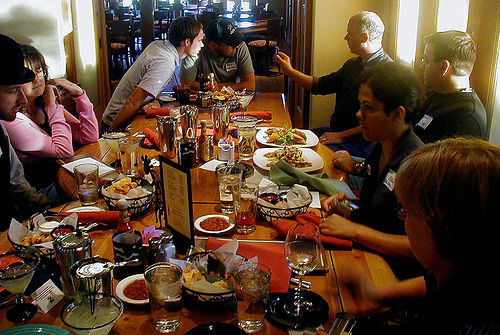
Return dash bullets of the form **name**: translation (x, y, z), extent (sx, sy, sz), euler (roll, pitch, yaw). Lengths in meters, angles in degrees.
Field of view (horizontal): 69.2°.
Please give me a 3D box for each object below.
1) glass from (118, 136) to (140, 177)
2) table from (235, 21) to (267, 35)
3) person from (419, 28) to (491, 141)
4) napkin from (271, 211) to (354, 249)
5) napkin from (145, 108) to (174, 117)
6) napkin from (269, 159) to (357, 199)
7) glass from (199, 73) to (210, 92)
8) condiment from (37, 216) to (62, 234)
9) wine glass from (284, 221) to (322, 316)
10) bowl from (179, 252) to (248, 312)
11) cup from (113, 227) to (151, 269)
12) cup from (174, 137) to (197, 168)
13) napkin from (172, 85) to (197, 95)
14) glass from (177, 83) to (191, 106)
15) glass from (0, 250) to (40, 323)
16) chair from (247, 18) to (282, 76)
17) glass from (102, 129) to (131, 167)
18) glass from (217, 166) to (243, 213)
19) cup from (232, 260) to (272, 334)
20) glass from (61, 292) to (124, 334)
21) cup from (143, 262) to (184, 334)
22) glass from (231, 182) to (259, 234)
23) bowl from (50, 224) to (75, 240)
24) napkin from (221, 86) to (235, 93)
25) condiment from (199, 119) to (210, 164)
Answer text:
- **glass**: translation (-0.761, -0.075, 2.276), extent (0.119, 0.231, 0.203), euler (-9, 20, -26)
- **table**: translation (0.037, -3.927, 10.277), extent (0.799, 0.380, 2.197), euler (0, 18, 0)
- **person**: translation (1.616, -0.661, 2.913), extent (0.452, 0.875, 0.868), euler (3, 27, 22)
- **napkin**: translation (0.275, 0.296, 1.672), extent (0.201, 0.063, 0.206), euler (1, 8, -15)
- **napkin**: translation (-0.863, -0.510, 3.400), extent (0.249, 0.075, 0.086), euler (4, 18, 14)
- **napkin**: translation (0.344, 0.078, 2.132), extent (0.345, 0.108, 0.260), euler (13, 7, -6)
- **glass**: translation (-0.494, -0.926, 3.999), extent (0.116, 0.169, 0.245), euler (-2, 18, -6)
- **condiment**: translation (-0.928, 0.258, 1.652), extent (0.065, 0.033, 0.072), euler (2, 25, -4)
- **wine glass**: translation (0.195, 0.373, 1.371), extent (0.137, 0.246, 0.247), euler (3, 18, 11)
- **bowl**: translation (-0.123, 0.414, 1.407), extent (0.323, 0.109, 0.308), euler (3, 1, 0)
- **cup**: translation (-0.488, 0.333, 1.466), extent (0.125, 0.144, 0.131), euler (8, 12, -2)
- **cup**: translation (-0.445, -0.099, 2.387), extent (0.162, 0.173, 0.107), euler (17, 16, 37)
- **napkin**: translation (-0.729, -0.855, 4.073), extent (0.152, 0.162, 0.201), euler (0, 12, 0)
- **glass**: translation (-0.653, -0.718, 3.609), extent (0.124, 0.201, 0.381), euler (-4, 18, -11)
- **glass**: translation (-0.815, 0.422, 1.348), extent (0.169, 0.209, 0.167), euler (-7, 35, -33)
- **chair**: translation (0.362, -3.047, 9.140), extent (0.762, 1.295, 0.873), euler (-20, 33, -33)
- **glass**: translation (-0.897, -0.121, 2.430), extent (0.187, 0.233, 0.191), euler (12, 16, 22)
- **glass**: translation (-0.094, 0.131, 1.959), extent (0.152, 0.241, 0.152), euler (-2, 2, -41)
- **cup**: translation (0.034, 0.447, 1.294), extent (0.198, 0.206, 0.127), euler (-12, 21, -32)
- **glass**: translation (-0.502, 0.468, 1.160), extent (0.148, 0.070, 0.152), euler (15, 28, 13)
- **cup**: translation (-0.293, 0.445, 1.258), extent (0.124, 0.215, 0.124), euler (0, 17, 0)
- **glass**: translation (-0.030, 0.204, 1.789), extent (0.146, 0.230, 0.150), euler (-1, 4, -14)
- **bowl**: translation (-0.779, 0.260, 1.499), extent (0.080, 0.027, 0.108), euler (11, 21, 31)
- **napkin**: translation (-0.253, -0.860, 4.022), extent (0.134, 0.040, 0.143), euler (8, 25, -5)
- **condiment**: translation (-0.333, -0.179, 2.500), extent (0.121, 0.286, 0.125), euler (-1, 8, 2)
